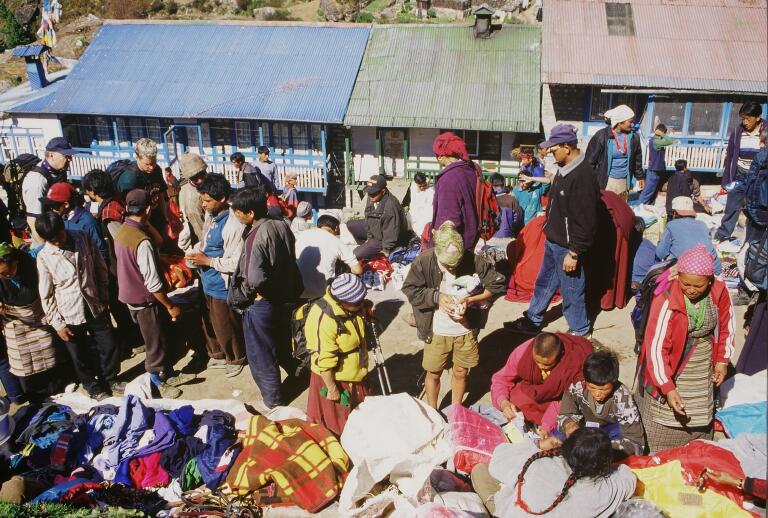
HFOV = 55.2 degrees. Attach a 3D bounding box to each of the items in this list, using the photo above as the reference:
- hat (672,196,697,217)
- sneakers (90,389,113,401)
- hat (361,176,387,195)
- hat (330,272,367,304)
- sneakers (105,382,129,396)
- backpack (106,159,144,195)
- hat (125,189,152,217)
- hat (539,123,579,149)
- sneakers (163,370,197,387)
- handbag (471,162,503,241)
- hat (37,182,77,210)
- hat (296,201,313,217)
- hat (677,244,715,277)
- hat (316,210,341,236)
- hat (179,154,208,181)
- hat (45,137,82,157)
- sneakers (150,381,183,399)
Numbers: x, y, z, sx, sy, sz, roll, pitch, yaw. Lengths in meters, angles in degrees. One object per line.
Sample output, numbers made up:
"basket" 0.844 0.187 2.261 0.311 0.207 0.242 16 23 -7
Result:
"hat" 4.952 -0.882 12.087 0.363 0.290 0.307 6 16 34
"sneakers" -4.490 2.168 11.660 0.346 0.180 0.125 -11 11 39
"hat" -0.152 -1.435 14.469 0.410 0.264 0.306 -18 40 -24
"hat" -0.503 0.380 10.261 0.423 0.362 0.376 13 59 38
"sneakers" -4.288 2.086 11.835 0.360 0.191 0.246 -13 -11 -12
"backpack" -4.432 -1.399 12.591 0.315 0.565 0.432 -11 58 -42
"hat" -3.791 -0.927 11.324 0.268 0.261 0.450 6 43 -8
"hat" 2.782 -1.836 11.441 0.698 0.442 0.500 -4 21 18
"sneakers" -3.310 1.938 11.903 0.453 0.206 0.198 -9 47 -11
"handbag" 1.689 -0.940 12.089 0.441 1.360 0.711 -1 12 8
"hat" -5.295 -1.068 11.859 0.510 0.341 0.352 -9 25 -27
"hat" -1.676 -1.068 15.394 0.237 0.300 0.362 13 38 19
"hat" 4.132 0.007 9.724 0.314 0.211 0.476 9 29 14
"hat" -0.938 -0.630 12.439 0.291 0.353 0.394 -4 19 1
"hat" -3.235 -1.570 12.273 0.414 0.404 0.351 -9 30 41
"hat" -5.686 -1.986 12.921 0.462 0.266 0.310 11 16 -31
"sneakers" -3.465 2.098 11.730 0.464 0.215 0.224 2 46 1
